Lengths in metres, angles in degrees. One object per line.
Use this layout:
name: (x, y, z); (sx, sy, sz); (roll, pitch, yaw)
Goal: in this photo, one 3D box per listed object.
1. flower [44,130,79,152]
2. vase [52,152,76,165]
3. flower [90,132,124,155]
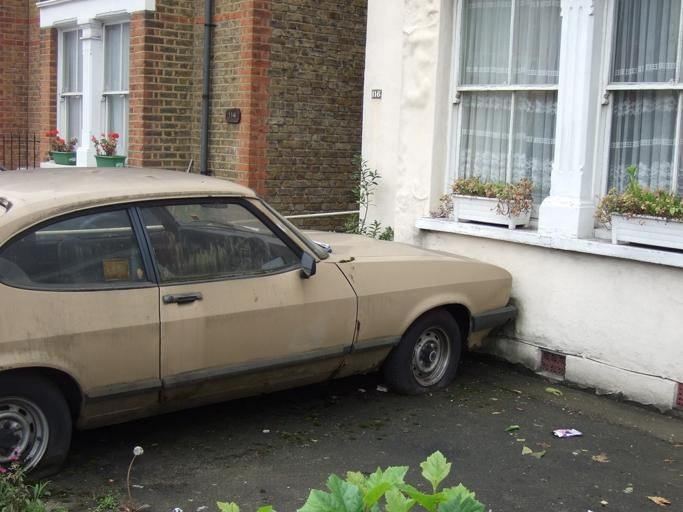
flower: (-5.636, -2.294, 11.463); (0.517, 0.425, 0.598); (6, 17, 14)
vase: (-5.524, -1.930, 11.301); (0.372, 0.183, 0.277); (0, 4, 27)
flower: (-4.306, -2.027, 10.375); (0.580, 0.493, 0.606); (0, 1, 5)
